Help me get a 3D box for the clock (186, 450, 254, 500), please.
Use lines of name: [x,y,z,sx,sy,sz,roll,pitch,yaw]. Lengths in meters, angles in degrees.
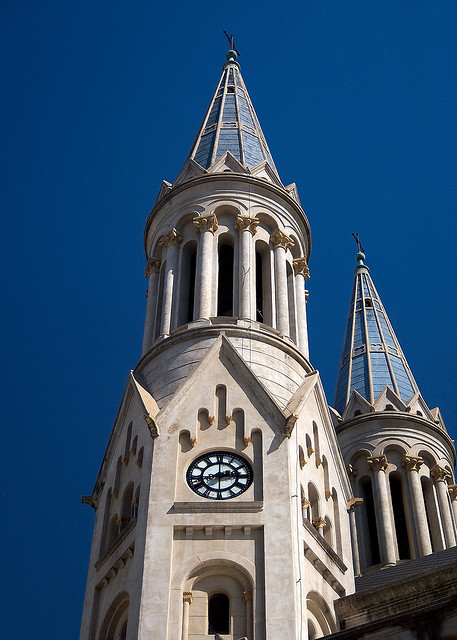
clock: [-0.232,3.915,23.424,1.668,0.094,1.725,0,-57,-3]
